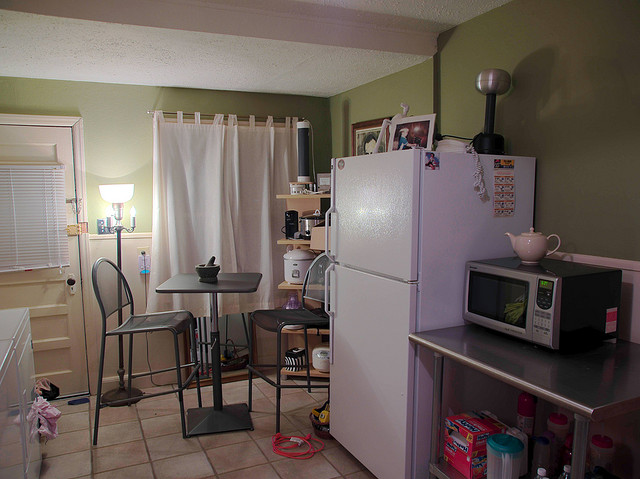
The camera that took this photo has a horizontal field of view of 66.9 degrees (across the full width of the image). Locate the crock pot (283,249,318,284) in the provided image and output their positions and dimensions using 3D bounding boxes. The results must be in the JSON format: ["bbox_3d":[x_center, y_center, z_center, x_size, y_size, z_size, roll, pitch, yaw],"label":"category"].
[{"bbox_3d":[-0.178,0.218,4.390,0.319,0.356,0.328,-2,14,0],"label":"crock pot"}]

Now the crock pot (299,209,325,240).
[{"bbox_3d":[-0.092,-0.157,4.451,0.224,0.276,0.303,6,9,38],"label":"crock pot"}]

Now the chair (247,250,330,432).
[{"bbox_3d":[-0.241,0.830,4.049,0.770,1.308,0.732,15,-4,-38],"label":"chair"}]

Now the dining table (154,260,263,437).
[{"bbox_3d":[-0.767,0.693,3.688,0.652,0.775,0.662,5,-37,-36],"label":"dining table"}]

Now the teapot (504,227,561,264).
[{"bbox_3d":[1.169,0.026,2.678,0.263,0.202,0.186,1,10,26],"label":"teapot"}]

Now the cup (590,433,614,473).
[{"bbox_3d":[1.391,1.090,2.428,0.141,0.171,0.090,-11,15,-40],"label":"cup"}]

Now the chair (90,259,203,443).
[{"bbox_3d":[-1.413,0.822,3.949,0.852,1.362,0.864,-7,-5,21],"label":"chair"}]

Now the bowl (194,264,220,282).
[{"bbox_3d":[-0.863,0.254,3.726,0.132,0.085,0.135,-1,3,0],"label":"bowl"}]

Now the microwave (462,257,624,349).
[{"bbox_3d":[1.176,0.313,2.601,0.448,0.436,0.659,-1,4,-22],"label":"microwave"}]
